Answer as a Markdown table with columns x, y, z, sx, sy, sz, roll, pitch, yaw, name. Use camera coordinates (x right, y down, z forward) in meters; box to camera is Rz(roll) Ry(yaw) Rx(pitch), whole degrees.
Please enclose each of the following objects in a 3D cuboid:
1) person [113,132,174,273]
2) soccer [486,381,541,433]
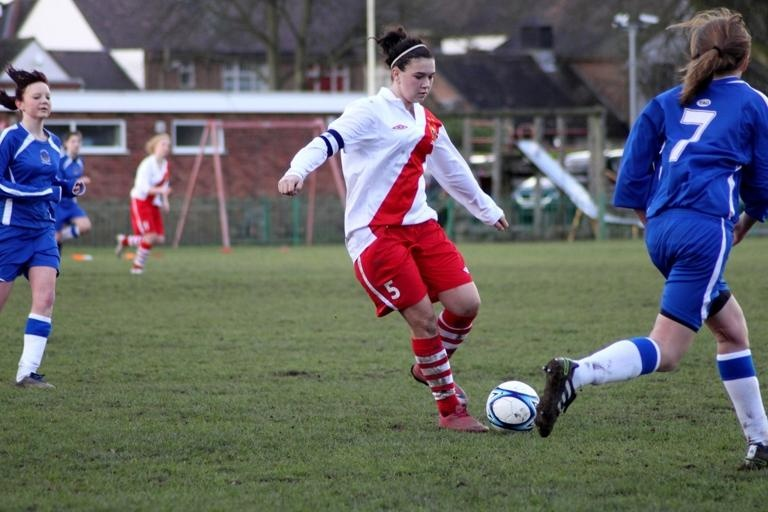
| x | y | z | sx | sy | sz | roll | pitch | yaw | name |
| --- | --- | --- | --- | --- | --- | --- | --- | --- | --- |
| -3.382 | -0.823 | 18.644 | 1.000 | 2.197 | 1.089 | 1 | -4 | -10 | person |
| 1.255 | 1.456 | 12.552 | 0.512 | 0.439 | 0.182 | -1 | 0 | 5 | soccer |
